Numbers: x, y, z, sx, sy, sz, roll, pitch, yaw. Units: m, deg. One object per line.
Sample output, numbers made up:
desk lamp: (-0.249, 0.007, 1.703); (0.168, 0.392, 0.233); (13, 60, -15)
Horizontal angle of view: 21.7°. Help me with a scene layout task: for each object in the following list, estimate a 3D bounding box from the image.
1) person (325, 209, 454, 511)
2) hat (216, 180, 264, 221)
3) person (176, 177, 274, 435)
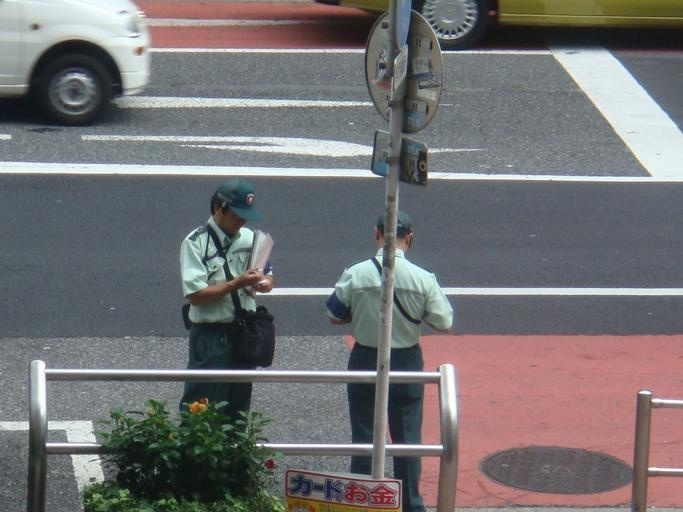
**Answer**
person: (0.464, 1.042, 17.270); (1.199, 2.879, 1.139); (2, 14, -1)
hat: (-0.983, -0.538, 17.277); (0.432, 0.399, 0.251); (2, 14, -2)
person: (-1.074, 0.195, 17.257); (0.908, 1.823, 0.553); (1, 14, -5)
